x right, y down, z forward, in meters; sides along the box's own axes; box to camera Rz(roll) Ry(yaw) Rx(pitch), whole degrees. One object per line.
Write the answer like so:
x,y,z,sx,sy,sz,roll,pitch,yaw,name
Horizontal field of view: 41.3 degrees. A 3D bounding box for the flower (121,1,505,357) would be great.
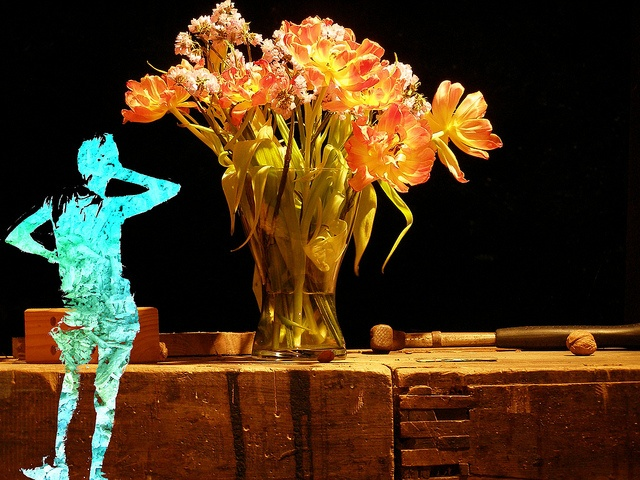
-0.047,-0.031,1.550,0.590,0.534,0.591,3,-4,-17,flower
